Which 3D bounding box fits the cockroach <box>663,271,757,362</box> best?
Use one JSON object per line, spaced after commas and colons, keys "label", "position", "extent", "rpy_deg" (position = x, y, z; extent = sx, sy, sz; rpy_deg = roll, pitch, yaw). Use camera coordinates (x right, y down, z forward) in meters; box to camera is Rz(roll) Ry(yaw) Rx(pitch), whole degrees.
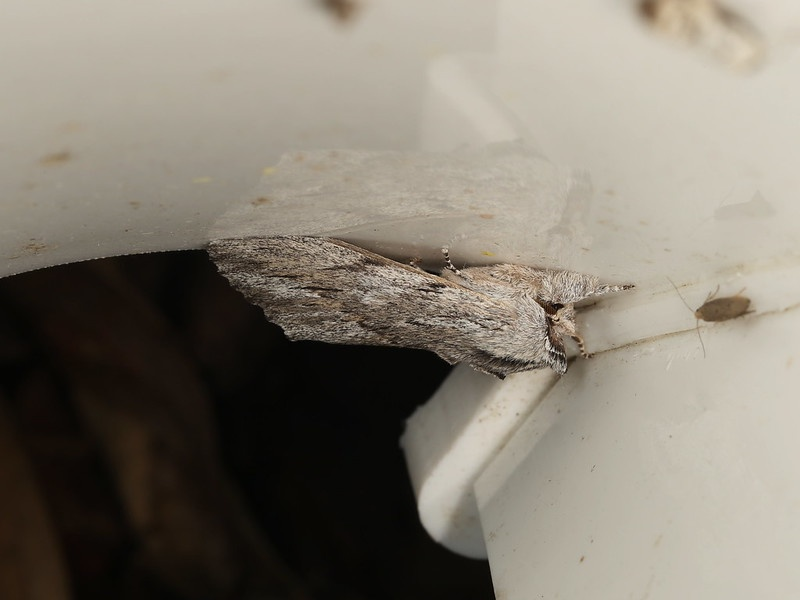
{"label": "cockroach", "position": [0.630, 0.013, 2.006], "extent": [0.096, 0.117, 0.166], "rpy_deg": [-20, 76, -9]}
